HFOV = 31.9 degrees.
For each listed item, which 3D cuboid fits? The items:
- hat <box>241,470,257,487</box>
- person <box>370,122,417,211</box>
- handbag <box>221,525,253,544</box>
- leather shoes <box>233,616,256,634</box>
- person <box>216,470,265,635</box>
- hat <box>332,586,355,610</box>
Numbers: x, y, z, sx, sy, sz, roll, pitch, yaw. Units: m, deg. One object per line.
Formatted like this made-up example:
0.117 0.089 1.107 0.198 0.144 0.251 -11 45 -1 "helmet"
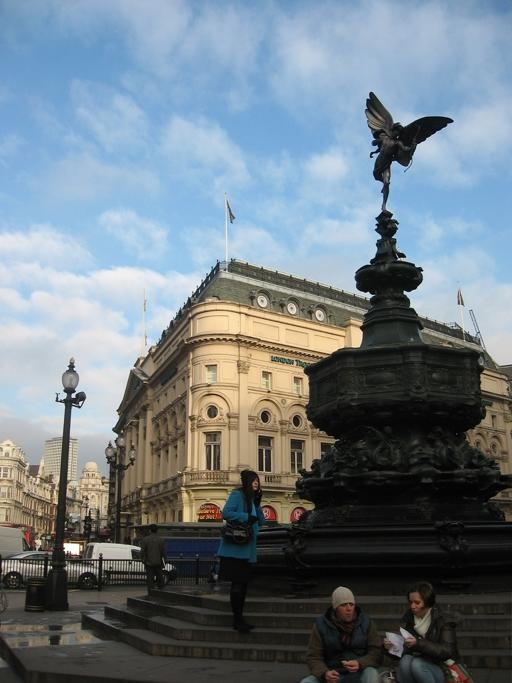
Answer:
-0.082 1.437 9.377 0.205 0.194 0.152 -14 -16 36 "hat"
2.057 -2.663 13.622 0.682 1.461 0.503 -7 -18 24 "person"
-0.206 1.949 9.059 0.191 0.123 0.241 12 -20 -35 "handbag"
-0.118 2.775 8.727 0.226 0.189 0.099 -5 -14 8 "leather shoes"
-0.159 2.112 9.154 0.435 1.631 0.682 0 -17 1 "person"
0.614 1.821 6.392 0.171 0.151 0.172 7 -13 -11 "hat"
